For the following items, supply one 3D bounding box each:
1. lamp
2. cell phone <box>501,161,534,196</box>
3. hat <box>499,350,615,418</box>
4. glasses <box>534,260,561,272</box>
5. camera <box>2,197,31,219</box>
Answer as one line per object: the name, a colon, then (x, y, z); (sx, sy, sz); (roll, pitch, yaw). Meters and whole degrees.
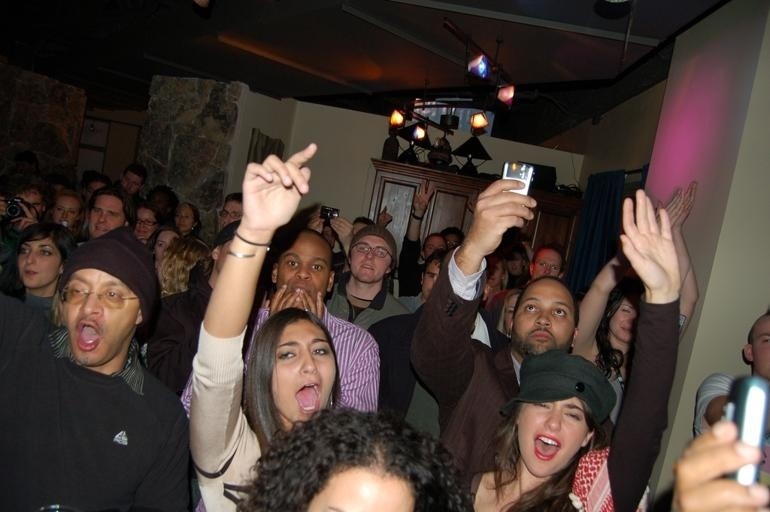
lamp: (1.024, -2.353, 7.161); (1.462, 1.375, 1.567); (2, -5, 11)
cell phone: (0.649, -0.379, 2.450); (0.131, 0.026, 0.236); (12, -33, 17)
hat: (0.934, 0.696, 2.725); (0.593, 0.294, 0.424); (23, -26, -39)
glasses: (1.643, 0.104, 5.026); (0.171, 0.149, 0.183); (-12, -5, 4)
camera: (-3.115, -0.399, 4.174); (0.182, 0.181, 0.174); (7, -12, -40)
